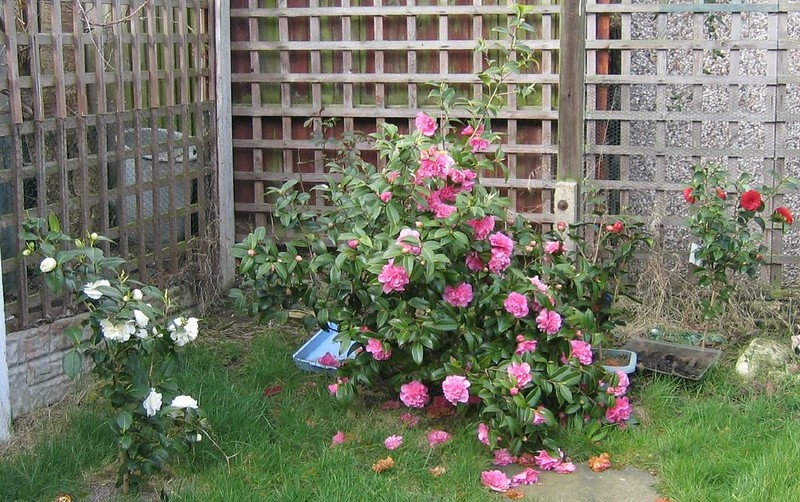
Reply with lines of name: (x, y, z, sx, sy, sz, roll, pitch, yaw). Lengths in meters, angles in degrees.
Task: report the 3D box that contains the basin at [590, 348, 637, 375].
basin: (1.285, 0.639, 4.325, 0.164, 0.060, 0.165, -5, 22, 2)
